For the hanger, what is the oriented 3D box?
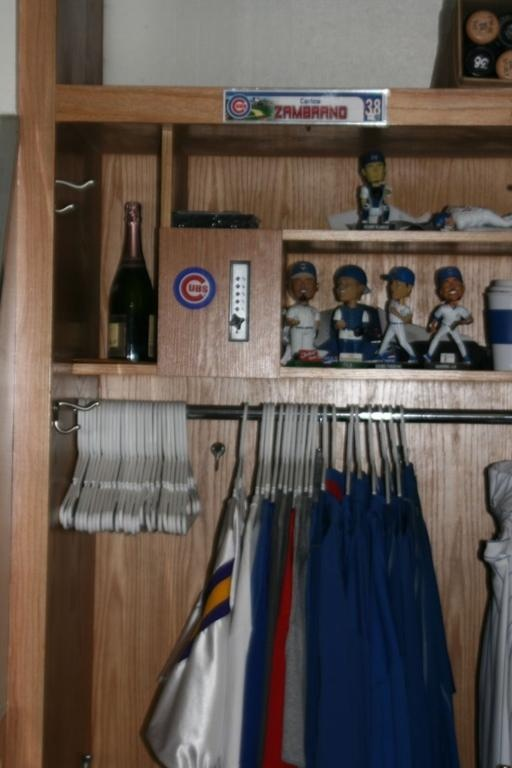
[{"bbox_3d":[-0.056,0.142,1.766,0.599,0.247,0.335,-3,-1,-9],"label":"hanger"}]
